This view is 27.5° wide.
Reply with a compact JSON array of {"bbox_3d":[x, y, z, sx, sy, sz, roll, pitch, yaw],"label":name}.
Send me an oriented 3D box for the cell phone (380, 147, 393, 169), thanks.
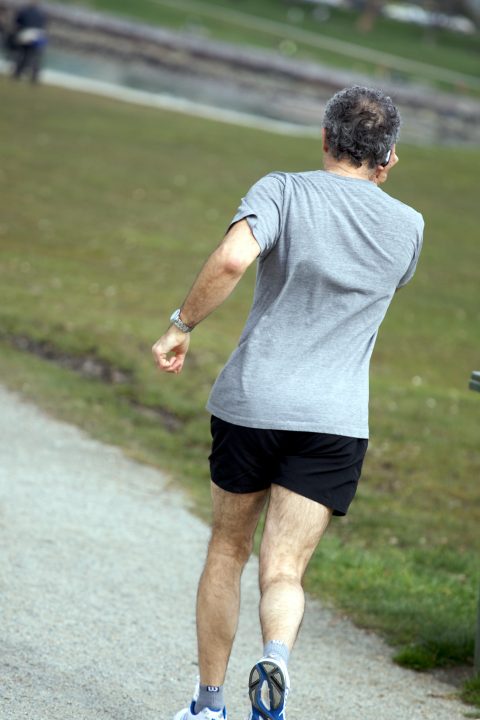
[{"bbox_3d":[0.514,-0.713,3.464,0.016,0.066,0.064,45,-8,8],"label":"cell phone"}]
